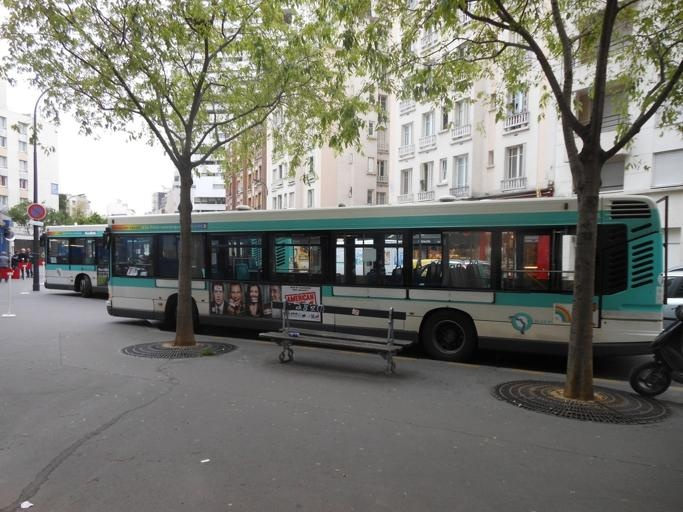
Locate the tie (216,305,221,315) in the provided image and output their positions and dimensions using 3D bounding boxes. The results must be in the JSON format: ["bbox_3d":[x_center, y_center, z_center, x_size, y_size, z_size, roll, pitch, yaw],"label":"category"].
[{"bbox_3d":[-3.062,1.337,14.310,0.172,0.157,0.142,7,4,38],"label":"tie"}]

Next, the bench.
[{"bbox_3d":[-0.072,1.623,11.410,2.659,1.375,0.957,4,5,14],"label":"bench"}]
